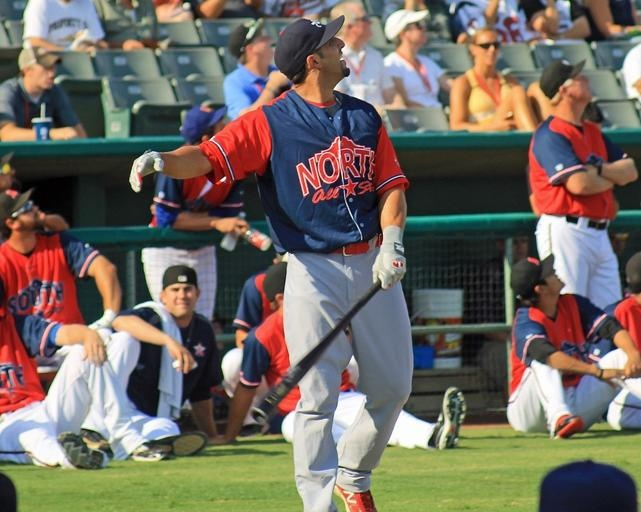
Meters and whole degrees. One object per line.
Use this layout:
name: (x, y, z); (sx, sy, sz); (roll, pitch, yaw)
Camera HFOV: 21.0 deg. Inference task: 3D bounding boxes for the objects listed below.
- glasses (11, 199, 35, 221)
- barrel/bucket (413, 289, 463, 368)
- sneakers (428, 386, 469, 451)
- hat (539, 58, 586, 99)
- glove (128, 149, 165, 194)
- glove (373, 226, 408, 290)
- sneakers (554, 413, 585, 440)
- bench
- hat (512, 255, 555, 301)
glasses: (-1.988, -0.311, 11.708); (0.133, 0.037, 0.127); (-28, 7, 1)
barrel/bucket: (0.877, 0.515, 12.835); (0.329, 0.585, 0.323); (1, 8, 0)
sneakers: (0.831, 1.107, 11.596); (0.177, 0.465, 0.224); (20, -11, -27)
hat: (1.676, -1.297, 12.329); (0.172, 0.329, 0.227); (41, 5, -19)
glove: (-1.033, -0.506, 10.186); (0.161, 0.233, 0.242); (-3, 0, -36)
glove: (0.415, 0.016, 10.249); (0.189, 0.348, 0.199); (7, 8, 2)
sneakers: (1.661, 1.173, 11.789); (0.105, 0.093, 0.249); (9, -31, -31)
bench: (1.020, 1.012, 12.766); (0.356, 0.370, 0.765); (-1, -4, 13)
hat: (1.472, 0.138, 12.057); (0.289, 0.303, 0.278); (2, 11, 8)
